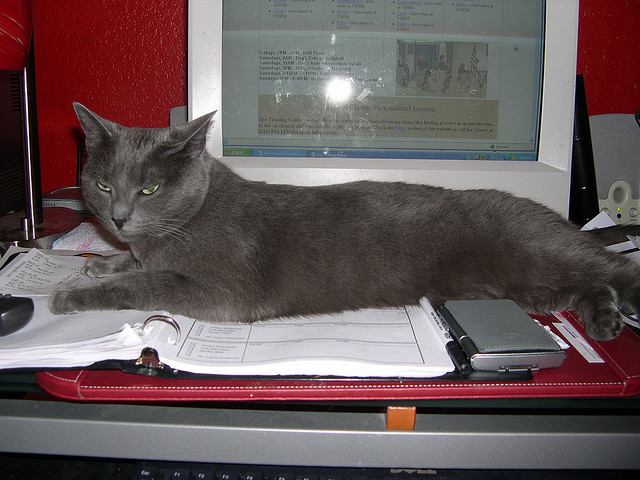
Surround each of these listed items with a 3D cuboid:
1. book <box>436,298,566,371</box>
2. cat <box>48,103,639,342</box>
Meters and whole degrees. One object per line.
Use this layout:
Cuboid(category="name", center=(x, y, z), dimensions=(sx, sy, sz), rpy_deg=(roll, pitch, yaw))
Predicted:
Cuboid(category="book", center=(0.307, 0.162, 0.880), dimensions=(0.170, 0.047, 0.205), rpy_deg=(1, 17, 1))
Cuboid(category="cat", center=(0.223, -0.002, 1.272), dimensions=(1.515, 0.558, 0.456), rpy_deg=(3, -3, -1))
